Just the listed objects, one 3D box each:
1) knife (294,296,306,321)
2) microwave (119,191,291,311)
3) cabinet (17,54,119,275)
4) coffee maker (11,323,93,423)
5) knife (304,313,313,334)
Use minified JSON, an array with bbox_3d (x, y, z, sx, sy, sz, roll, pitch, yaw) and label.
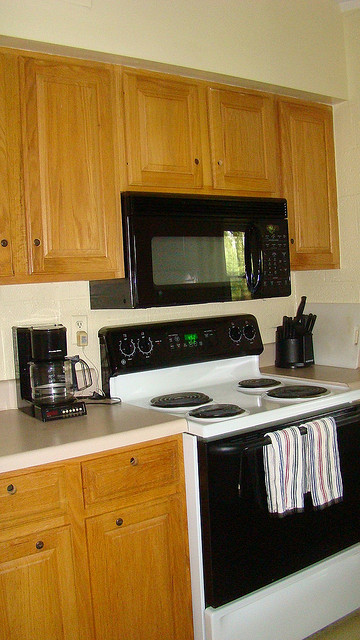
[{"bbox_3d":[0.599,-0.057,2.258,0.034,0.163,0.027,17,21,22],"label":"knife"},{"bbox_3d":[0.095,-0.263,1.795,0.632,0.413,0.316,-4,4,-20],"label":"microwave"},{"bbox_3d":[-0.342,-0.452,1.397,0.248,0.657,0.228,-9,17,-35],"label":"cabinet"},{"bbox_3d":[-0.425,0.154,1.493,0.222,0.321,0.289,-9,3,-26],"label":"coffee maker"},{"bbox_3d":[0.622,0.012,2.185,0.023,0.118,0.030,14,-5,1],"label":"knife"}]
